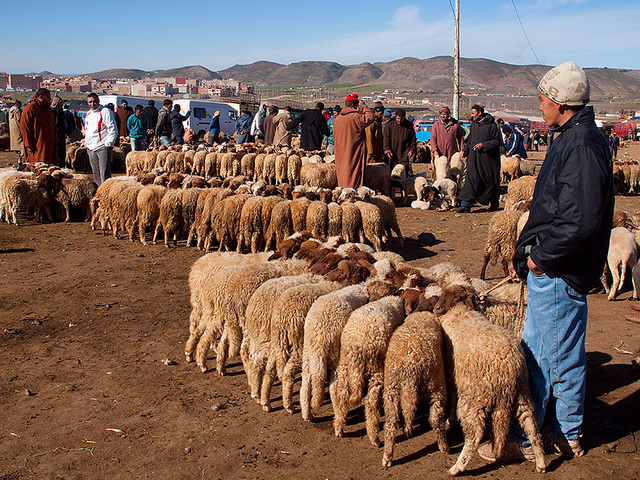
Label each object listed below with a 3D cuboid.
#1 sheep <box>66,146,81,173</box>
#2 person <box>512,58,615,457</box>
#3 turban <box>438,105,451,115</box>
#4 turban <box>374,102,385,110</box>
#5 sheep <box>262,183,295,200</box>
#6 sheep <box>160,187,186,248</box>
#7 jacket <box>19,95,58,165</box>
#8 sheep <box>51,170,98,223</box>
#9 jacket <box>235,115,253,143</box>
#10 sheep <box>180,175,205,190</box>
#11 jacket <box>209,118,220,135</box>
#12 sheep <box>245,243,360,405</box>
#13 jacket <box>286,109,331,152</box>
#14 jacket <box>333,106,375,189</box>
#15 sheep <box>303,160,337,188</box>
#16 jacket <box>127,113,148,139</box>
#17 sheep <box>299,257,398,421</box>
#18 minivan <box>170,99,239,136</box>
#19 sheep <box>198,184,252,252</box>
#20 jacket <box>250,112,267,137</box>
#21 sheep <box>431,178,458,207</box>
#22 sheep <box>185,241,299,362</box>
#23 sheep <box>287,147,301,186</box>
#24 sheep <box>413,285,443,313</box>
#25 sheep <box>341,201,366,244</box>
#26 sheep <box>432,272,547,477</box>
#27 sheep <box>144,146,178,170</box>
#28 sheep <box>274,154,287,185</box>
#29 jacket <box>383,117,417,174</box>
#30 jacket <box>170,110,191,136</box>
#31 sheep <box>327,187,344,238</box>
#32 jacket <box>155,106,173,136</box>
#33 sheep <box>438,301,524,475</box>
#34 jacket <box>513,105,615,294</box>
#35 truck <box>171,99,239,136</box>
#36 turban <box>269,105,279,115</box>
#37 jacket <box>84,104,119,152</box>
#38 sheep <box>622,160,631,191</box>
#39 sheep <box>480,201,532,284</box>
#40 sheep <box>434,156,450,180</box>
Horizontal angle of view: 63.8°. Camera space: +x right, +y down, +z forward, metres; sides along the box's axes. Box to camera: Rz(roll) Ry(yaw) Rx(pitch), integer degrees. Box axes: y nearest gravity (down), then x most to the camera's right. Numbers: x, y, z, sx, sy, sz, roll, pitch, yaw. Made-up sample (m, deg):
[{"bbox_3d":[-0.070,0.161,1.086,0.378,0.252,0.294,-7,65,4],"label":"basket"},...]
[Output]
[{"bbox_3d":[-8.579,-2.823,17.655,0.490,0.705,0.367,-3,13,0],"label":"sheep"},{"bbox_3d":[2.090,0.219,4.388,0.649,3.377,0.666,-5,13,-11],"label":"person"},{"bbox_3d":[3.548,-3.719,14.701,0.380,0.299,0.548,4,9,17],"label":"turban"},{"bbox_3d":[1.676,-3.840,14.737,0.349,0.332,0.301,-2,8,6],"label":"turban"},{"bbox_3d":[-0.873,-0.972,10.343,0.288,0.406,0.754,8,8,36],"label":"sheep"},{"bbox_3d":[-2.755,-0.409,9.682,0.465,1.051,0.405,-3,13,0],"label":"sheep"},{"bbox_3d":[-6.812,-2.641,12.402,0.730,1.647,0.814,-9,14,-27],"label":"jacket"},{"bbox_3d":[-5.448,-0.947,11.423,1.225,1.037,0.493,3,10,-15],"label":"sheep"},{"bbox_3d":[-3.148,-4.645,21.437,0.668,1.108,1.016,-4,12,-8],"label":"jacket"},{"bbox_3d":[-2.746,-1.217,11.004,0.351,0.382,0.665,-1,7,-3],"label":"sheep"},{"bbox_3d":[-4.778,-5.084,22.971,0.391,0.705,0.557,-5,13,-11],"label":"jacket"},{"bbox_3d":[-0.008,1.352,6.181,0.593,1.292,2.276,-4,-13,31],"label":"sheep"},{"bbox_3d":[-0.528,-3.340,16.280,1.306,1.839,0.561,5,30,-17],"label":"jacket"},{"bbox_3d":[0.723,-2.010,11.223,0.857,1.739,0.514,-2,13,4],"label":"jacket"},{"bbox_3d":[0.097,-1.697,13.304,1.027,0.669,0.485,-14,23,-35],"label":"sheep"},{"bbox_3d":[-6.226,-3.843,17.430,0.593,0.807,0.467,-7,13,-19],"label":"jacket"},{"bbox_3d":[0.336,1.062,5.839,0.579,1.356,2.431,11,12,23],"label":"sheep"},{"bbox_3d":[-6.890,-7.465,31.780,2.108,2.214,4.482,18,22,33],"label":"minivan"},{"bbox_3d":[-1.827,-0.348,10.195,0.621,1.164,2.138,3,4,22],"label":"sheep"},{"bbox_3d":[-2.504,-4.681,20.908,0.519,0.913,0.899,-11,31,-24],"label":"jacket"},{"bbox_3d":[3.564,-1.363,14.741,0.696,0.745,0.812,1,13,15],"label":"sheep"},{"bbox_3d":[-0.881,0.629,6.198,1.785,1.347,0.771,-6,11,-22],"label":"sheep"},{"bbox_3d":[-0.737,-2.033,14.881,0.429,0.816,0.421,-6,13,-14],"label":"sheep"},{"bbox_3d":[1.099,0.579,5.187,0.264,0.174,0.570,1,12,16],"label":"sheep"},{"bbox_3d":[0.581,-0.280,9.048,0.412,0.717,0.424,-2,12,3],"label":"sheep"},{"bbox_3d":[1.425,1.175,4.566,0.631,1.041,1.693,-3,14,-10],"label":"sheep"},{"bbox_3d":[-5.083,-2.565,16.102,0.429,0.546,1.010,8,16,40],"label":"sheep"},{"bbox_3d":[-1.169,-2.051,14.926,0.394,0.820,0.501,-2,12,1],"label":"sheep"},{"bbox_3d":[2.375,-2.867,15.605,0.986,1.687,0.849,2,13,20],"label":"jacket"},{"bbox_3d":[-5.541,-4.573,20.006,0.584,0.986,0.632,-6,13,-15],"label":"jacket"},{"bbox_3d":[0.345,-0.550,9.135,0.255,0.836,0.461,2,-24,6],"label":"sheep"},{"bbox_3d":[-5.870,-4.394,19.249,0.669,1.095,1.155,3,12,4],"label":"jacket"},{"bbox_3d":[1.428,1.319,4.615,0.699,1.178,0.790,-3,12,-3],"label":"sheep"},{"bbox_3d":[2.027,-0.326,4.263,0.709,1.540,0.602,4,14,28],"label":"jacket"},{"bbox_3d":[-7.174,-7.448,31.883,2.115,2.439,4.945,15,19,28],"label":"truck"},{"bbox_3d":[-1.807,-4.936,19.553,0.261,0.297,0.345,5,19,10],"label":"turban"},{"bbox_3d":[-5.101,-2.596,11.891,1.097,1.032,0.600,10,15,27],"label":"jacket"},{"bbox_3d":[11.089,-2.331,18.607,0.270,1.155,0.620,3,-4,30],"label":"sheep"},{"bbox_3d":[3.413,-0.008,8.905,1.869,1.268,0.498,-6,11,-41],"label":"sheep"},{"bbox_3d":[3.616,-2.142,15.210,0.402,0.660,0.425,0,13,12],"label":"sheep"}]
